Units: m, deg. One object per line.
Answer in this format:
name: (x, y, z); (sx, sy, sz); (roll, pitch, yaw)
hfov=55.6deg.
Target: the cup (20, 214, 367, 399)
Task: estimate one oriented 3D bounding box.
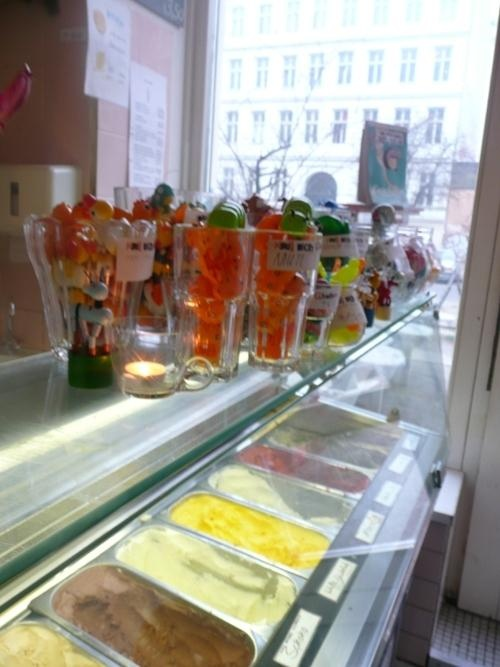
cup: (-0.094, -0.065, 0.630); (0.342, 0.143, 0.242); (-10, 21, -35)
